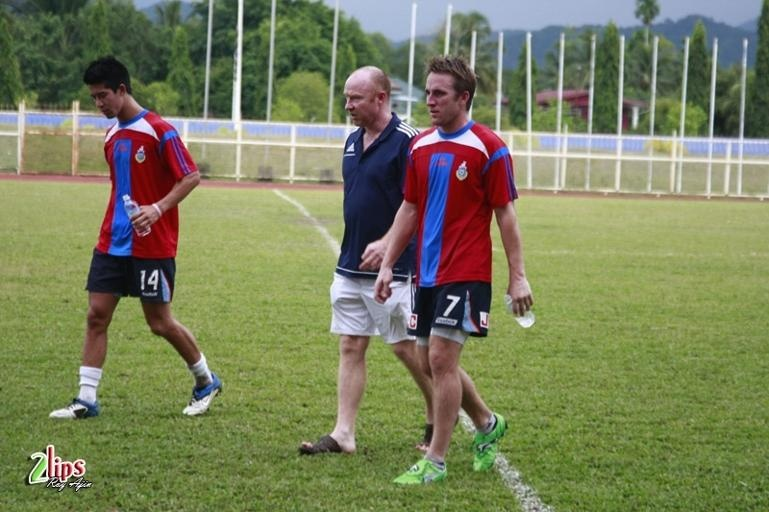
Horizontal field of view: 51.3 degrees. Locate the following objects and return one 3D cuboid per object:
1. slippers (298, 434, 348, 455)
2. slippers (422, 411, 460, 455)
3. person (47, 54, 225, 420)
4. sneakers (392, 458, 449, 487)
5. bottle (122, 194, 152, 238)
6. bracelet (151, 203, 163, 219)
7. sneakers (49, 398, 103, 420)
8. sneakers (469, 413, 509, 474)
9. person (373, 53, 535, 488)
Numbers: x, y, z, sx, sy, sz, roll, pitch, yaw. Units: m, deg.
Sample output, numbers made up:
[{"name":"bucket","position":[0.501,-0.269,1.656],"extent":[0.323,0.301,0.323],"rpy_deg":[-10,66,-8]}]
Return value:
[{"name":"slippers","position":[-0.493,1.514,6.422],"extent":[0.393,0.168,0.143],"rpy_deg":[3,-8,-3]},{"name":"slippers","position":[0.419,1.323,6.062],"extent":[0.150,0.479,0.201],"rpy_deg":[12,18,13]},{"name":"person","position":[-2.094,-0.151,6.726],"extent":[1.172,2.940,0.758],"rpy_deg":[-2,14,-14]},{"name":"sneakers","position":[0.280,1.631,6.101],"extent":[0.419,0.184,0.164],"rpy_deg":[-5,3,-15]},{"name":"bottle","position":[-2.035,-0.323,6.615],"extent":[0.203,0.335,0.296],"rpy_deg":[-4,15,-22]},{"name":"bracelet","position":[-1.852,-0.370,6.558],"extent":[0.026,0.096,0.091],"rpy_deg":[-32,3,-11]},{"name":"sneakers","position":[-2.542,1.266,6.674],"extent":[0.420,0.173,0.152],"rpy_deg":[2,1,-8]},{"name":"sneakers","position":[0.797,1.474,6.292],"extent":[0.254,0.522,0.182],"rpy_deg":[10,4,-40]},{"name":"person","position":[0.511,0.065,6.162],"extent":[1.022,3.109,0.902],"rpy_deg":[-3,14,-17]}]
